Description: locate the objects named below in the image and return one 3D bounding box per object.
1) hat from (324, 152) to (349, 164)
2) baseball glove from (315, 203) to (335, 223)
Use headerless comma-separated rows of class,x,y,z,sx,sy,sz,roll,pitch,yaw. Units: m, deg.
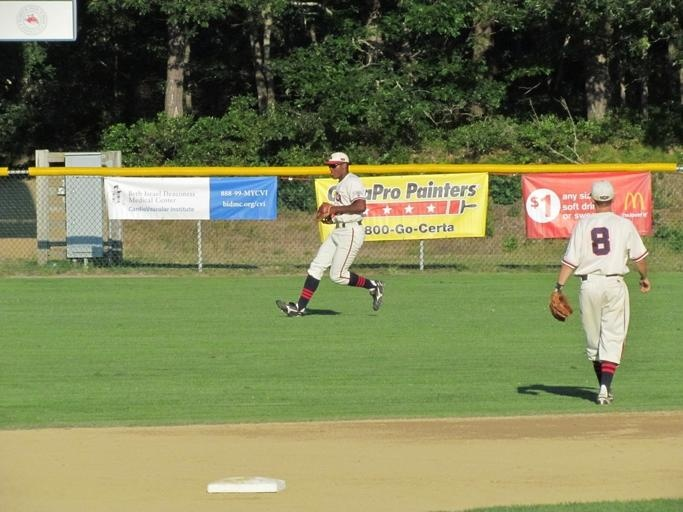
hat,-0.062,-2.305,38.823,0.504,0.255,0.353,3,-3,-5
baseball glove,-0.337,-0.988,38.716,0.356,0.501,0.512,-1,11,-1
